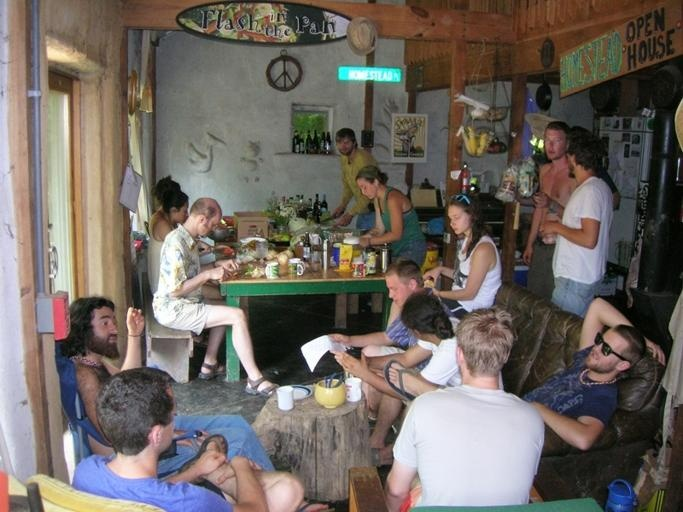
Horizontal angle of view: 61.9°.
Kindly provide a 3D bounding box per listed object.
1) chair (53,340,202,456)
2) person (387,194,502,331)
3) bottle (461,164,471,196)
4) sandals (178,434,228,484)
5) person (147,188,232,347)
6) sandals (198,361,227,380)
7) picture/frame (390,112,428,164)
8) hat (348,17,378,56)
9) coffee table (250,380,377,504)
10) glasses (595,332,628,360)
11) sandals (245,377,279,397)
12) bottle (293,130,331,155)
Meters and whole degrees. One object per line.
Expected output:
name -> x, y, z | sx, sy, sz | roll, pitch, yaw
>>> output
chair -> -1.241, 0.779, 3.356 | 0.693, 0.946, 0.604 | -7, 15, -22
person -> 0.853, -0.127, 5.073 | 0.937, 1.752, 0.818 | 0, 20, 8
bottle -> 1.353, -0.840, 6.197 | 0.103, 0.315, 0.429 | 0, 9, 12
sandals -> -0.677, 1.012, 2.858 | 0.164, 0.113, 0.254 | 16, 24, 11
person -> -1.385, 0.158, 5.163 | 0.843, 1.780, 0.901 | -2, 32, -16
sandals -> -1.179, 1.060, 5.234 | 0.119, 0.112, 0.272 | 2, 8, 18
picture/frame -> 1.026, -1.765, 8.564 | 0.530, 0.694, 0.340 | -1, 8, 2
hat -> 0.213, -2.118, 5.546 | 0.305, 0.331, 0.085 | -7, 14, -27
coffee table -> -0.145, 1.217, 3.791 | 0.703, 0.551, 0.544 | -3, 14, 2
glasses -> 1.557, 0.524, 3.287 | 0.128, 0.041, 0.125 | 21, 9, -22
sandals -> -0.679, 1.118, 4.878 | 0.260, 0.127, 0.147 | 0, 5, 12
bottle -> -0.494, -1.912, 9.650 | 0.676, 0.429, 0.366 | -3, 8, -5
